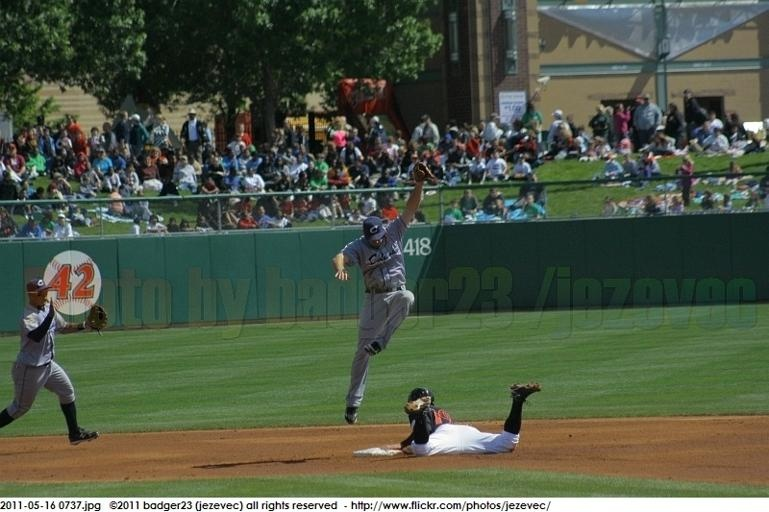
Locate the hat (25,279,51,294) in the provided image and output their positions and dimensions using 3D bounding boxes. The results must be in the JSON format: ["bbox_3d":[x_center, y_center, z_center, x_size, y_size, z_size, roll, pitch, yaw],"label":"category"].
[{"bbox_3d":[-8.834,0.767,45.698,0.584,0.327,0.435,-3,6,-10],"label":"hat"}]

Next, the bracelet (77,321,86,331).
[{"bbox_3d":[-7.707,1.783,45.668,0.298,0.141,0.338,-6,3,-6],"label":"bracelet"}]
